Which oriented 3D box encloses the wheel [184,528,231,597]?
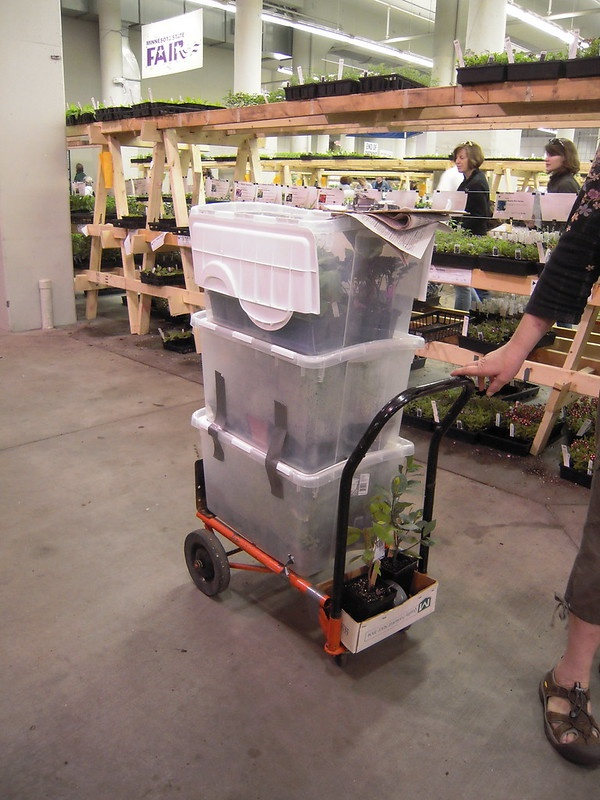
[{"bbox_3d":[-0.314,0.548,2.026,0.075,0.202,0.196,-14,26,-31],"label":"wheel"}]

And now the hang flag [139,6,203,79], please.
[{"bbox_3d":[-1.713,-4.672,8.028,0.024,0.676,1.146,30,47,19],"label":"hang flag"}]

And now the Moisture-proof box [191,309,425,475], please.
[{"bbox_3d":[-0.002,-0.015,1.848,0.441,0.292,0.613,-15,24,-38],"label":"Moisture-proof box"}]

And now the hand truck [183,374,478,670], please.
[{"bbox_3d":[0.144,0.167,2.082,0.664,0.892,1.029,-13,26,-37],"label":"hand truck"}]

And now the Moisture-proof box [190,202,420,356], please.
[{"bbox_3d":[-0.021,-0.319,1.735,0.437,0.315,0.586,-21,31,-39],"label":"Moisture-proof box"}]

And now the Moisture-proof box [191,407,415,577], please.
[{"bbox_3d":[-0.011,0.271,1.997,0.520,0.327,0.663,-3,15,-34],"label":"Moisture-proof box"}]

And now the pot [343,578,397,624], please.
[{"bbox_3d":[0.194,0.540,1.660,0.102,0.042,0.100,-1,22,0],"label":"pot"}]
